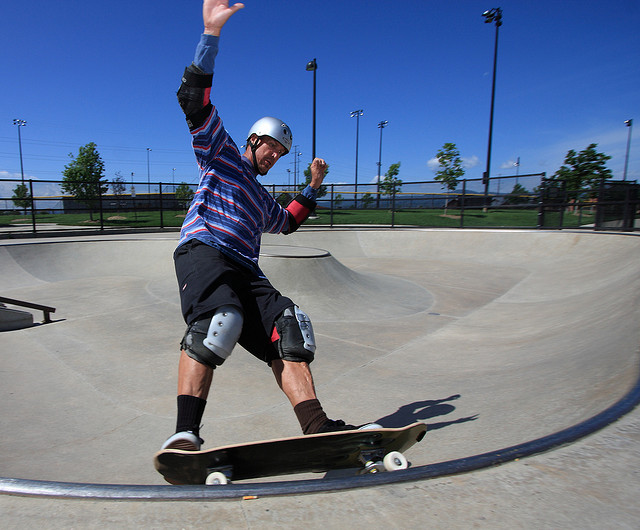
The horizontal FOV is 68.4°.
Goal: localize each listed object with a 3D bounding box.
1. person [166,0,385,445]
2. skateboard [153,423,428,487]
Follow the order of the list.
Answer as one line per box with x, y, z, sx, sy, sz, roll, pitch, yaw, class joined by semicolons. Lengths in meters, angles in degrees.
-0.314;-0.268;2.149;0.736;1.852;1.310;0;14;-5;person
-0.102;0.740;1.972;1.248;0.247;0.315;0;6;-3;skateboard
